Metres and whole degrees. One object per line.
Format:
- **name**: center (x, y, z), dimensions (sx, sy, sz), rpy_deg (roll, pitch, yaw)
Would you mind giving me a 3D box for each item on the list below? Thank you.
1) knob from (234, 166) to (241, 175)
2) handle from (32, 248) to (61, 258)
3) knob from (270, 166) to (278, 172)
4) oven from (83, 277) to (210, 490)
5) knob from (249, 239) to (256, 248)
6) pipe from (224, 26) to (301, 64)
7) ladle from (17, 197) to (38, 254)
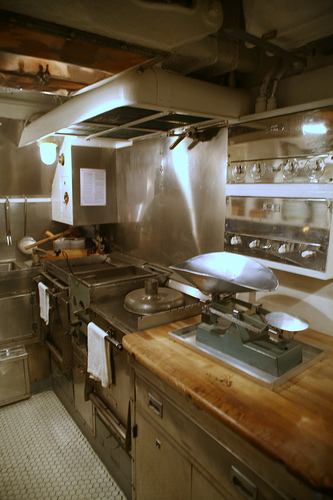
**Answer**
- **knob**: center (0.352, -0.395, 1.699), dimensions (0.014, 0.046, 0.029), rpy_deg (2, 10, 32)
- **handle**: center (-1.055, 0.027, 2.986), dimensions (0.280, 0.103, 0.056), rpy_deg (6, 8, 30)
- **knob**: center (0.470, -0.351, 1.485), dimensions (0.015, 0.023, 0.056), rpy_deg (-4, 15, -3)
- **oven**: center (-0.086, 0.844, 1.952), dimensions (0.665, 1.035, 0.676), rpy_deg (10, 13, 34)
- **knob**: center (0.398, -0.027, 1.588), dimensions (0.021, 0.011, 0.029), rpy_deg (-16, 21, 50)
- **pipe**: center (0.412, -0.814, 1.366), dimensions (0.474, 0.069, 0.089), rpy_deg (-10, 14, -39)
- **ladle**: center (-1.330, -0.201, 3.233), dimensions (0.094, 0.564, 0.159), rpy_deg (0, 16, -44)
